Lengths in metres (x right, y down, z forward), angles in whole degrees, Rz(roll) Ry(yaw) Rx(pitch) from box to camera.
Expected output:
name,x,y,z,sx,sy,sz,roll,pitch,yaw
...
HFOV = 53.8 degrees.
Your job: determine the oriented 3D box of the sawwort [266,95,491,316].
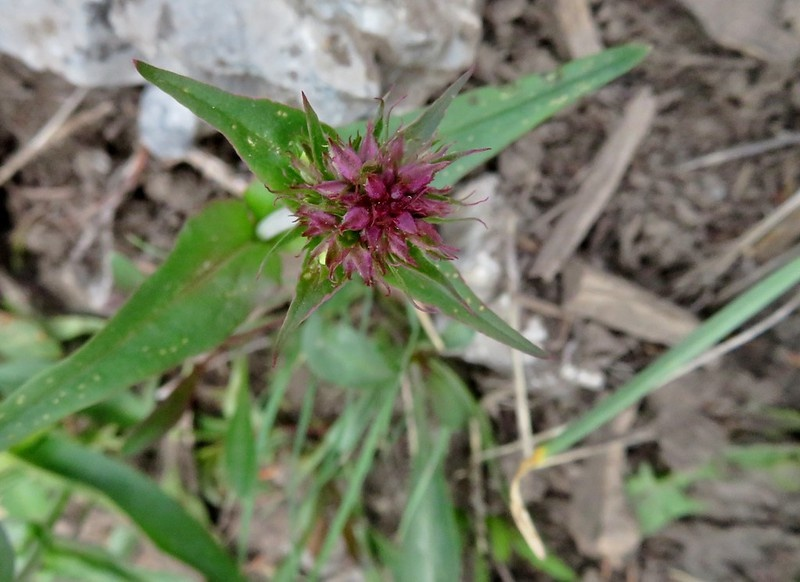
name,x,y,z,sx,sy,sz,roll,pitch,yaw
sawwort,-0.103,-0.274,2.029,0.509,0.506,0.272,-47,19,-3
